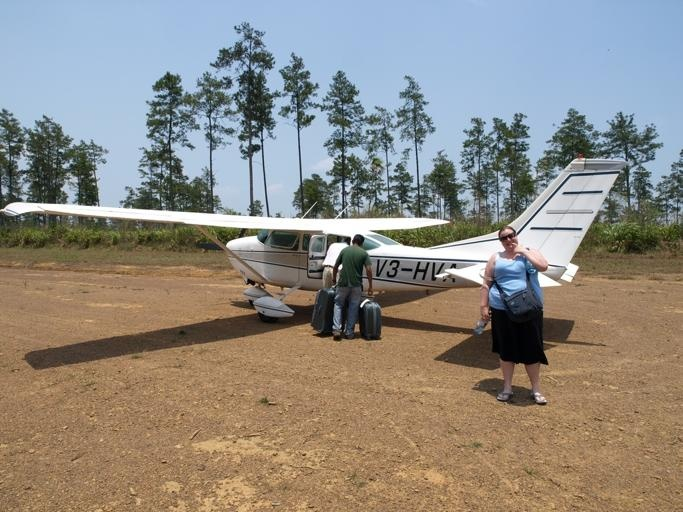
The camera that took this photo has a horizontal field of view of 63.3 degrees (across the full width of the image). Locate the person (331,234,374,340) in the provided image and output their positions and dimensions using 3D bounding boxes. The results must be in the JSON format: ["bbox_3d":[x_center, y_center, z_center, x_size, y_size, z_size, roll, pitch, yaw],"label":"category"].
[{"bbox_3d":[0.120,0.589,10.821,0.926,1.945,0.728,-8,17,-24],"label":"person"}]

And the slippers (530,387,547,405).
[{"bbox_3d":[2.788,1.995,7.862,0.125,0.085,0.282,-1,6,1],"label":"slippers"}]

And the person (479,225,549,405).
[{"bbox_3d":[2.444,0.857,7.728,1.003,2.441,0.594,3,16,14],"label":"person"}]

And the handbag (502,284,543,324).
[{"bbox_3d":[2.427,0.641,7.483,0.385,0.461,0.249,-26,-15,-6],"label":"handbag"}]
